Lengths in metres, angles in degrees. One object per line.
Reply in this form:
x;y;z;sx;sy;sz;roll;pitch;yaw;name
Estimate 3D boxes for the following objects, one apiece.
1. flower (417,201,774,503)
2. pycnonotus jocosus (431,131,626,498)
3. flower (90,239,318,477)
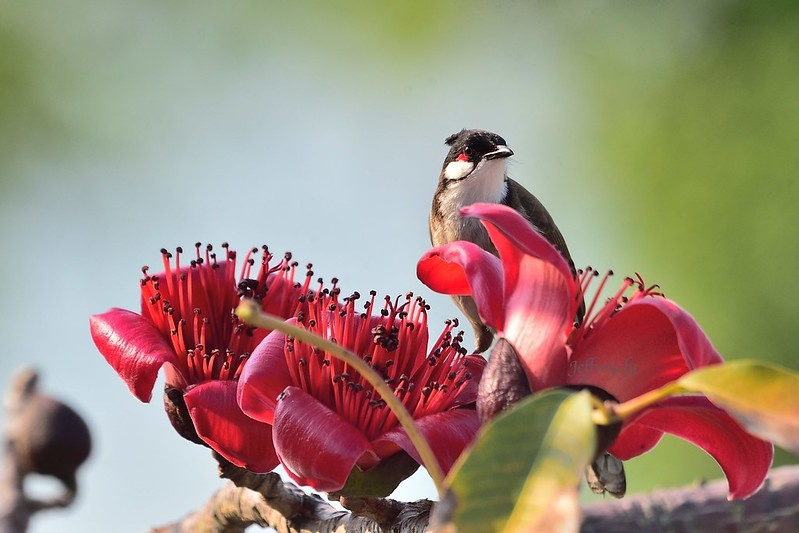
0.221;0.109;1.059;0.313;0.354;0.222;-1;-15;-32;flower
0.352;0.070;2.101;0.245;0.777;0.470;-19;25;24;pycnonotus jocosus
-0.268;0.104;1.262;0.338;0.215;0.327;22;10;25;flower
